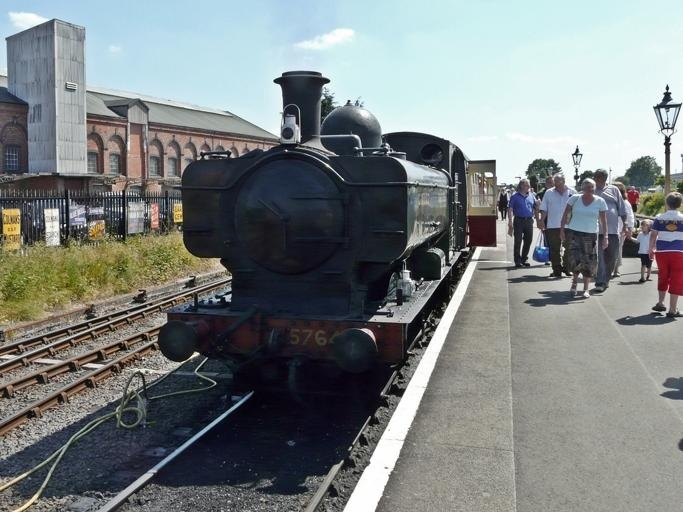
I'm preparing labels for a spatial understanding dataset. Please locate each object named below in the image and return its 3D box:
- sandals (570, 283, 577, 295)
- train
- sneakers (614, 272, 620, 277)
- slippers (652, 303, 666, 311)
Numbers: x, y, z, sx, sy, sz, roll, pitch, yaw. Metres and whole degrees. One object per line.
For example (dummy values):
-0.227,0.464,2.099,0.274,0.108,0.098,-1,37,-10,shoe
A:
4.460,0.644,10.132,0.091,0.285,0.116,-1,22,12,sandals
0.513,-0.491,8.672,2.910,3.290,8.086,1,8,19,train
6.389,0.406,12.273,0.096,0.048,0.146,2,3,16,sneakers
5.182,0.822,8.601,0.104,0.101,0.222,-1,-5,45,slippers
